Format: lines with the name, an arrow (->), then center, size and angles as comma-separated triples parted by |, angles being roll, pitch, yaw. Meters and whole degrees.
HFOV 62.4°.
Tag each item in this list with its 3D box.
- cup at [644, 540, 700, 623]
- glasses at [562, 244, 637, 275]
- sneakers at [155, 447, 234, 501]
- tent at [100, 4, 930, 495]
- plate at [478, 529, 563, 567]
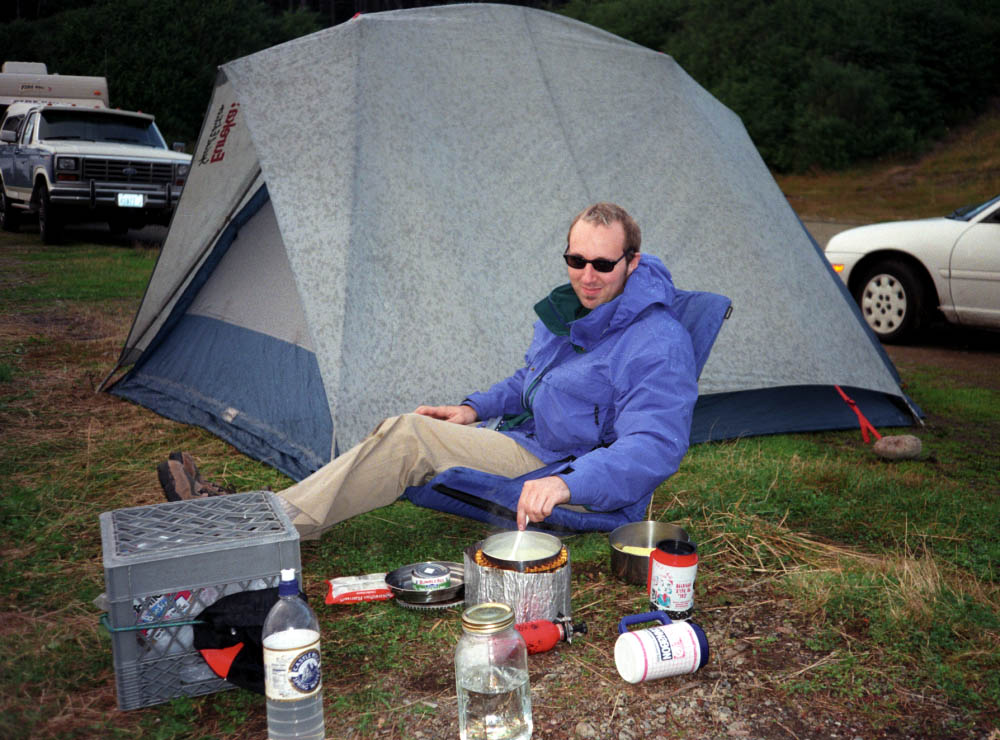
cup -> 0.737, 0.928, 3.488 | 0.196, 0.356, 0.306 | 1, 20, 9
glasses -> 0.474, -0.522, 3.892 | 0.337, 0.098, 0.117 | 0, 20, 7
sneakers -> -1.642, 0.499, 4.224 | 0.340, 0.165, 0.289 | -3, -3, 38
tent -> 0.164, -1.073, 5.787 | 3.793, 2.413, 3.672 | -3, 7, -28
plate -> 0.088, 0.736, 3.485 | 0.335, 0.057, 0.241 | -9, 21, -18
